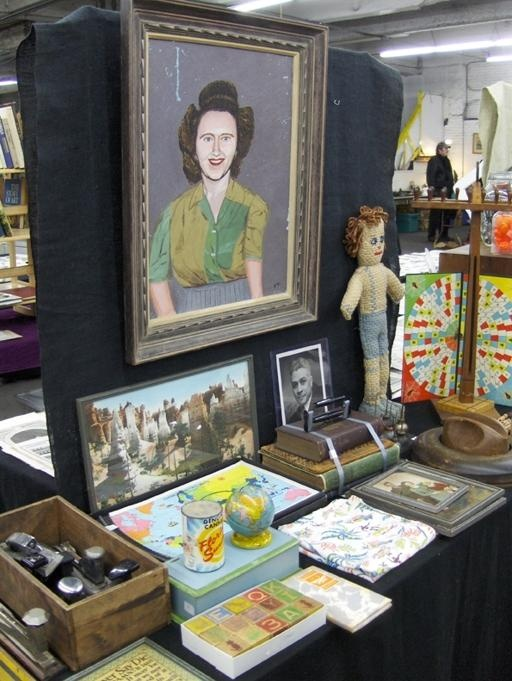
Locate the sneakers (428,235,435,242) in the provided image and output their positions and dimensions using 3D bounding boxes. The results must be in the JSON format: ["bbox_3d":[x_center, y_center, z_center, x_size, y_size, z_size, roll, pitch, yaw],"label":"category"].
[{"bbox_3d":[3.807,-2.221,12.062,0.134,0.136,0.087,-2,-8,27],"label":"sneakers"}]

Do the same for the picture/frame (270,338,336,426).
[{"bbox_3d":[0.145,0.142,1.845,0.240,0.244,0.020,-21,20,-36],"label":"picture/frame"}]

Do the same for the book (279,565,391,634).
[{"bbox_3d":[0.155,0.504,1.082,0.092,0.012,0.122,-3,8,-44],"label":"book"}]

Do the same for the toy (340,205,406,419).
[{"bbox_3d":[0.428,-0.096,2.035,0.279,0.765,0.299,6,11,5],"label":"toy"}]

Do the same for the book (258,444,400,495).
[{"bbox_3d":[0.242,0.372,1.625,0.188,0.044,0.182,-13,16,-41],"label":"book"}]

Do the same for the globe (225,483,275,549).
[{"bbox_3d":[-0.011,0.358,1.137,0.104,0.120,0.104,-5,19,-12],"label":"globe"}]

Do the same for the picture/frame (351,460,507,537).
[{"bbox_3d":[0.468,0.420,1.488,0.177,0.037,0.194,11,20,43],"label":"picture/frame"}]

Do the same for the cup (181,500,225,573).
[{"bbox_3d":[-0.099,0.366,1.014,0.077,0.114,0.081,1,21,0],"label":"cup"}]

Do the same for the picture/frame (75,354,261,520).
[{"bbox_3d":[-0.243,0.252,1.414,0.015,0.220,0.373,8,18,43],"label":"picture/frame"}]
